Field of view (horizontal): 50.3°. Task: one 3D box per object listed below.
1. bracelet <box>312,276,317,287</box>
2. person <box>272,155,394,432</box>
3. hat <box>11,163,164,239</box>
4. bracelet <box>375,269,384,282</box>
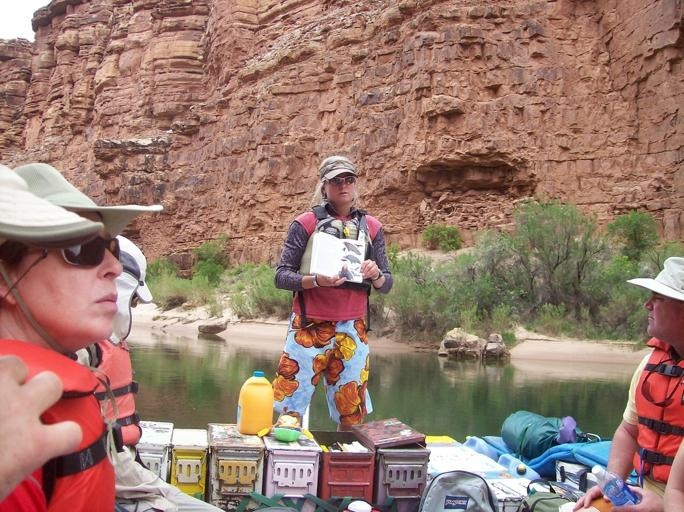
[{"bbox_3d":[-0.222,0.212,6.229,0.028,0.071,0.060,2,-5,6],"label":"bracelet"},{"bbox_3d":[-0.083,0.291,6.375,1.002,2.173,0.661,3,-1,-5],"label":"person"},{"bbox_3d":[-1.489,-0.335,4.059,0.462,0.274,0.651,-9,-10,11],"label":"hat"},{"bbox_3d":[0.334,0.157,6.448,0.073,0.087,0.034,-1,-9,-17],"label":"bracelet"}]
